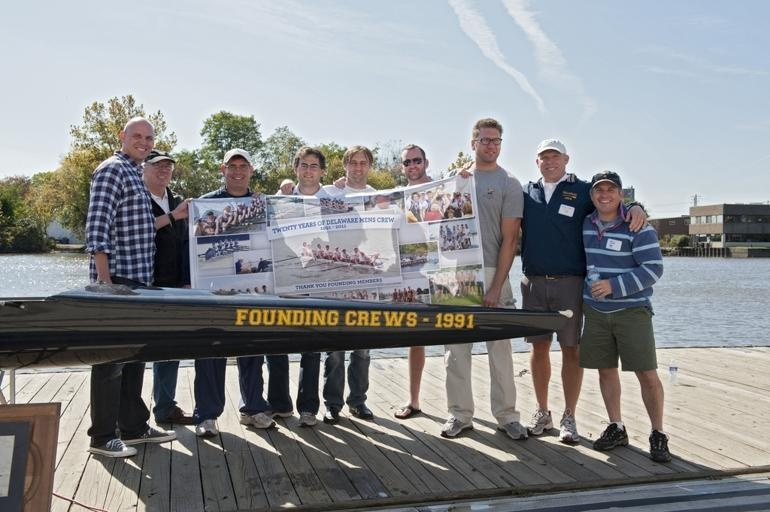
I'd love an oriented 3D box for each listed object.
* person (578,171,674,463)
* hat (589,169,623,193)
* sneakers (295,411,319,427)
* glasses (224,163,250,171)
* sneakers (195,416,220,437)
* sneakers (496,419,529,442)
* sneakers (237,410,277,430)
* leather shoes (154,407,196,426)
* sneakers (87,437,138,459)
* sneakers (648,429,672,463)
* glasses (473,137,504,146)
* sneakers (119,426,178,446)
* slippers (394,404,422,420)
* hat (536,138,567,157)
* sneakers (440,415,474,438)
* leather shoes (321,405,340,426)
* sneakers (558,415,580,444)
[{"bbox_3d":[2.028,0.462,5.122,0.788,2.324,0.568,4,10,25],"label":"person"},{"bbox_3d":[1.831,-0.635,5.105,0.292,0.152,0.245,7,11,37],"label":"hat"},{"bbox_3d":[-0.714,1.514,5.691,0.171,0.116,0.157,-1,9,-10],"label":"sneakers"},{"bbox_3d":[-1.317,-0.803,5.457,0.224,0.061,0.084,-2,9,-16],"label":"glasses"},{"bbox_3d":[-1.599,1.520,5.435,0.209,0.158,0.158,-1,9,-7],"label":"sneakers"},{"bbox_3d":[1.147,1.558,5.451,0.119,0.114,0.251,0,3,-39],"label":"sneakers"},{"bbox_3d":[-1.170,1.524,5.693,0.372,0.166,0.141,1,5,24],"label":"sneakers"},{"bbox_3d":[-1.953,1.496,5.761,0.407,0.177,0.148,1,0,-12],"label":"leather shoes"},{"bbox_3d":[-2.193,1.565,4.994,0.397,0.161,0.159,4,-3,1],"label":"sneakers"},{"bbox_3d":[2.265,1.549,4.969,0.186,0.211,0.200,1,9,8],"label":"sneakers"},{"bbox_3d":[0.905,-1.026,5.369,0.234,0.065,0.083,2,9,12],"label":"glasses"},{"bbox_3d":[-2.029,1.559,5.247,0.441,0.176,0.160,0,-1,-14],"label":"sneakers"},{"bbox_3d":[0.227,1.526,5.950,0.277,0.103,0.109,3,-5,-22],"label":"slippers"},{"bbox_3d":[1.453,-0.952,5.284,0.215,0.112,0.307,2,9,12],"label":"hat"},{"bbox_3d":[0.658,1.559,5.526,0.337,0.153,0.128,8,-11,-43],"label":"sneakers"},{"bbox_3d":[-0.506,1.517,5.760,0.120,0.122,0.288,2,-10,-1],"label":"leather shoes"},{"bbox_3d":[1.608,1.497,5.314,0.158,0.230,0.194,2,9,16],"label":"sneakers"}]
